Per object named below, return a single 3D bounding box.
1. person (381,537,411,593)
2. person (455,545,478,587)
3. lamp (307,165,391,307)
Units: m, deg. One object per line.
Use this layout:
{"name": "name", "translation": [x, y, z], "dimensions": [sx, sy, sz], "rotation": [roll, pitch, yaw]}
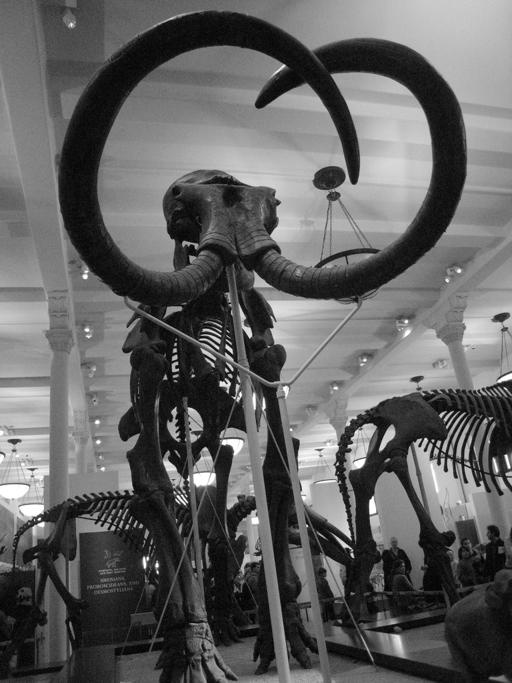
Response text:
{"name": "person", "translation": [2.443, 3.927, 9.905], "dimensions": [0.477, 1.023, 0.234], "rotation": [-5, 17, -4]}
{"name": "person", "translation": [3.167, 3.331, 8.538], "dimensions": [0.332, 0.559, 0.742], "rotation": [-12, -17, 16]}
{"name": "lamp", "translation": [1.222, -1.710, 8.365], "dimensions": [1.156, 1.163, 1.695], "rotation": [1, -47, 22]}
